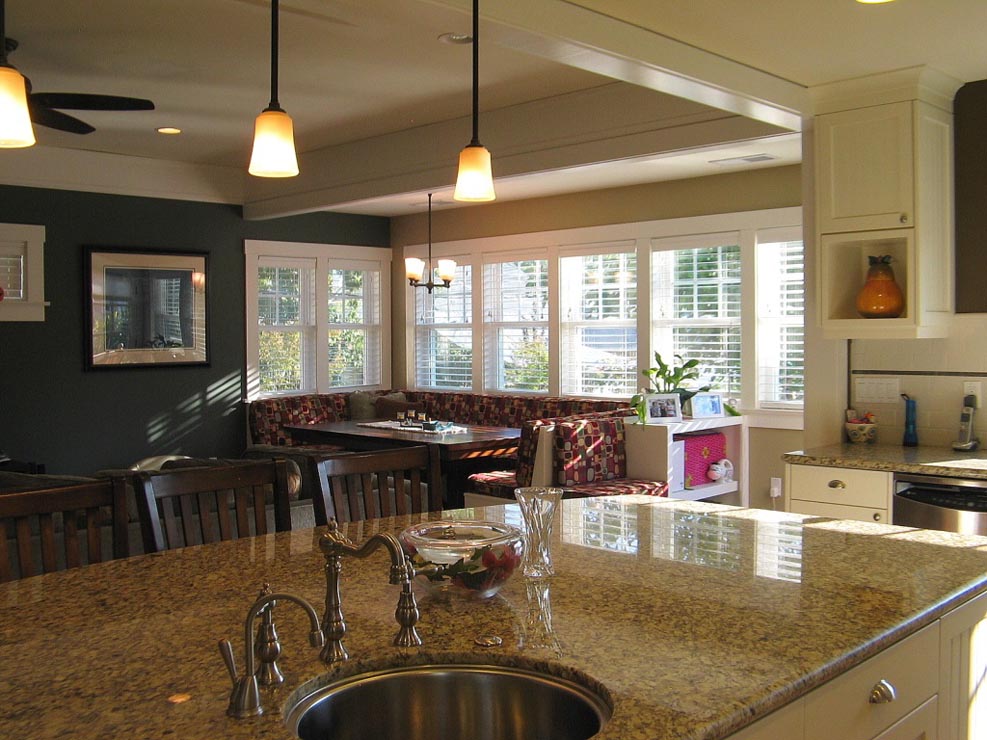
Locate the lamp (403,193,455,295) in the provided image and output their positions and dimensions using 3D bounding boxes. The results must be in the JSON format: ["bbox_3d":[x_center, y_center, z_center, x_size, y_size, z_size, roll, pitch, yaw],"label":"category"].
[{"bbox_3d":[-0.675,-1.338,7.967,0.545,0.967,1.563,-2,2,-5],"label":"lamp"}]

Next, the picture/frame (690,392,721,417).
[{"bbox_3d":[1.664,0.266,5.677,0.377,0.188,0.089,-3,3,-40],"label":"picture/frame"}]

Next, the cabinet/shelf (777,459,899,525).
[{"bbox_3d":[1.732,0.562,3.700,0.298,0.340,0.387,5,-5,-44],"label":"cabinet/shelf"}]

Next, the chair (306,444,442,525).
[{"bbox_3d":[-0.389,0.395,2.435,0.321,0.265,0.523,-1,2,10],"label":"chair"}]

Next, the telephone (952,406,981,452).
[{"bbox_3d":[2.499,0.304,3.883,0.105,0.231,0.153,1,3,39],"label":"telephone"}]

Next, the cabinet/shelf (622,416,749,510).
[{"bbox_3d":[1.483,0.725,5.601,1.284,0.784,0.346,-4,3,-44],"label":"cabinet/shelf"}]

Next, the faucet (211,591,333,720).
[{"bbox_3d":[-0.388,0.426,1.202,0.204,0.212,0.158,-1,2,-24],"label":"faucet"}]

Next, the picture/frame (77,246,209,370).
[{"bbox_3d":[-3.440,-0.608,7.103,1.318,1.251,0.065,-2,4,-37],"label":"picture/frame"}]

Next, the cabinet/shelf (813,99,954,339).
[{"bbox_3d":[2.081,-0.763,3.919,0.552,1.180,0.546,1,3,40],"label":"cabinet/shelf"}]

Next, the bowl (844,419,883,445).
[{"bbox_3d":[2.079,0.351,4.145,0.140,0.081,0.137,-1,-3,0],"label":"bowl"}]
